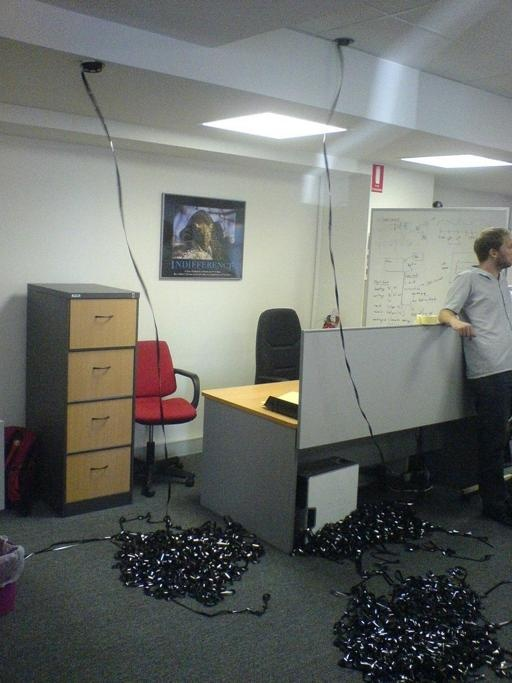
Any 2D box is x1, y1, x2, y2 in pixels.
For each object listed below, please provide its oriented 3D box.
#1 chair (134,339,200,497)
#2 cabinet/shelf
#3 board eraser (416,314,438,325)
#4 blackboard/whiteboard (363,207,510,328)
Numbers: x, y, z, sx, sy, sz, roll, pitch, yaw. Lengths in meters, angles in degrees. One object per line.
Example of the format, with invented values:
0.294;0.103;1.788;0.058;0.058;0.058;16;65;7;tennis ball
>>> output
-0.564;0.440;3.494;0.391;0.873;0.668;1;4;-7;chair
-0.964;0.288;3.064;0.400;1.202;0.547;-2;5;-42;cabinet/shelf
0.927;-0.118;3.005;0.091;0.032;0.069;-4;9;-36;board eraser
1.181;-0.489;3.565;0.938;0.917;0.044;3;10;19;blackboard/whiteboard
